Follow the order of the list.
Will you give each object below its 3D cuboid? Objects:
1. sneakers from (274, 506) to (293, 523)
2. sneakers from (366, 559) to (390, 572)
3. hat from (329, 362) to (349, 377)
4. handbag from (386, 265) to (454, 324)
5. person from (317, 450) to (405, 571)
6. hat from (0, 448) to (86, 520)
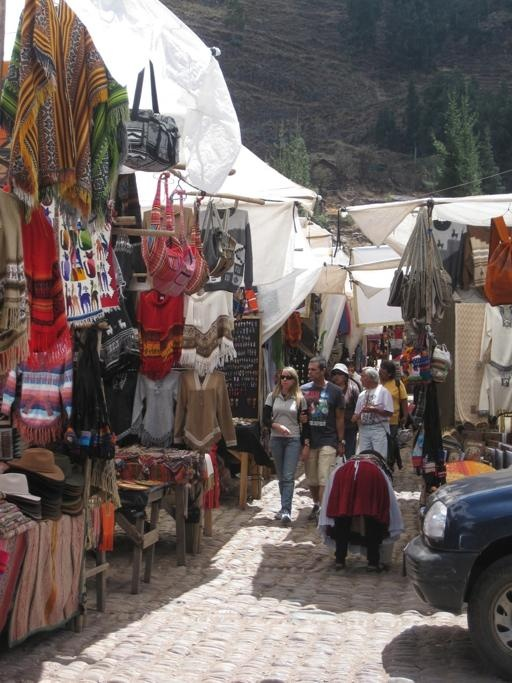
[{"bbox_3d":[0.289,1.814,7.463,0.175,0.143,0.269,0,-5,1],"label":"sneakers"},{"bbox_3d":[0.975,1.785,5.736,0.167,0.149,0.069,-6,9,-18],"label":"sneakers"},{"bbox_3d":[1.134,0.386,9.784,0.291,0.180,0.438,4,0,7],"label":"hat"},{"bbox_3d":[1.466,-0.412,6.450,0.439,0.651,0.490,0,1,1],"label":"handbag"},{"bbox_3d":[0.829,1.396,5.837,0.730,1.269,0.632,3,0,21],"label":"person"},{"bbox_3d":[-1.177,0.801,4.071,0.304,0.398,0.558,-1,-5,19],"label":"hat"}]
